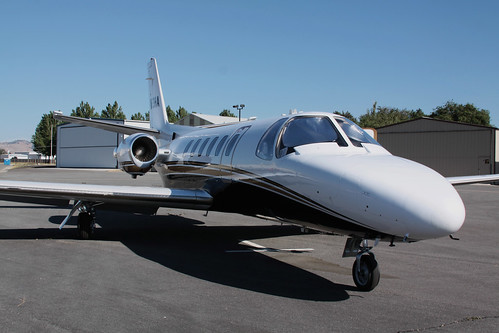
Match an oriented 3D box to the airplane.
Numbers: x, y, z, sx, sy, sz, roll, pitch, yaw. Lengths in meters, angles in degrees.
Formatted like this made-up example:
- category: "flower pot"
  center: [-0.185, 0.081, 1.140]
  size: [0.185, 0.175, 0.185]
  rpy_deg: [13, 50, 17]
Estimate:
- category: "airplane"
  center: [0.379, 0.436, 8.220]
  size: [7.473, 3.167, 3.281]
  rpy_deg: [1, -3, 31]
